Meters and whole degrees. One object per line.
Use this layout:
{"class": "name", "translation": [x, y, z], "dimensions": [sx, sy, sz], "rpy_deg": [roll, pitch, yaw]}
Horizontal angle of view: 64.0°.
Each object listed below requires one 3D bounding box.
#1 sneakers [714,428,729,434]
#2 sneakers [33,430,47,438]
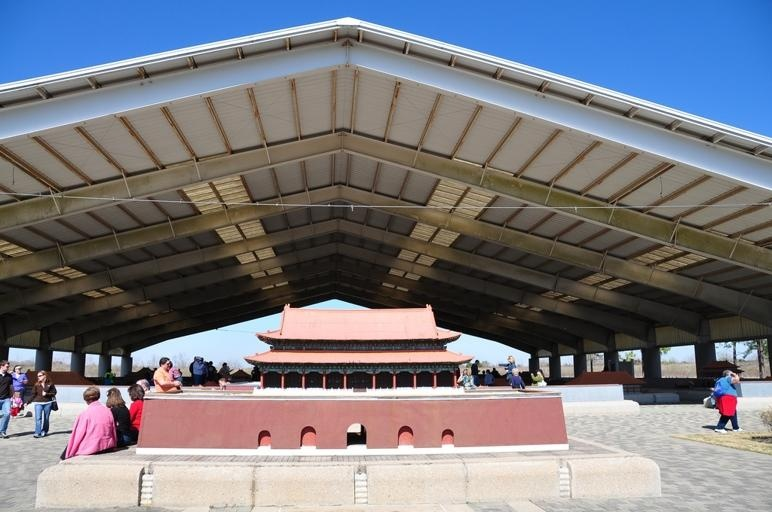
{"class": "sneakers", "translation": [13.046, 6.750, 23.887], "dimensions": [0.555, 0.190, 0.178], "rpy_deg": [3, -18, -3]}
{"class": "sneakers", "translation": [-13.118, 6.727, 23.382], "dimensions": [0.245, 0.157, 0.536], "rpy_deg": [-2, -7, -29]}
